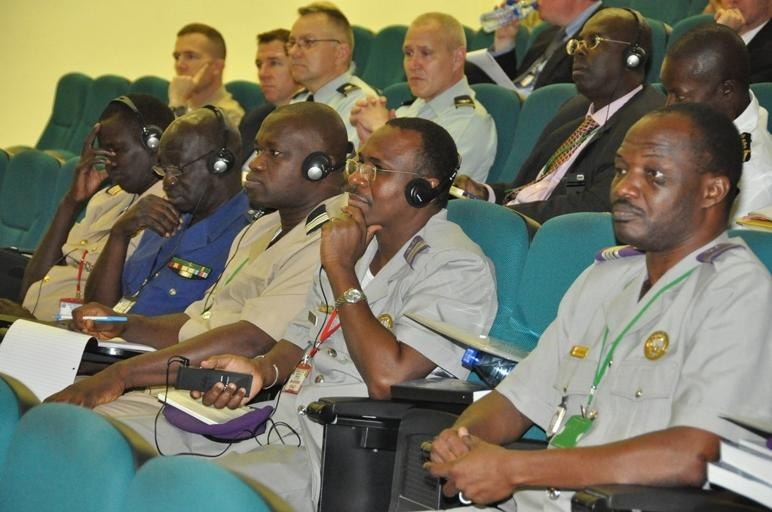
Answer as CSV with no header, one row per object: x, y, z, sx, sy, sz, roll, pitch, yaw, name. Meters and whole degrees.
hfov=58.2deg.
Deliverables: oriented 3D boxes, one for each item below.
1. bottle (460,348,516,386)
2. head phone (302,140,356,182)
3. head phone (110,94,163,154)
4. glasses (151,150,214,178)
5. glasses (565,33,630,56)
0.323,0.341,2.148,0.144,0.051,0.047,13,30,7,bottle
-0.262,-0.393,2.985,0.183,0.088,0.146,-26,7,-25,head phone
-1.365,-0.696,3.750,0.154,0.338,0.377,-41,2,-17,head phone
-0.986,-0.460,3.302,0.186,0.046,0.177,-33,23,-30,glasses
1.099,-1.075,3.535,0.187,0.050,0.175,11,-11,-29,glasses
